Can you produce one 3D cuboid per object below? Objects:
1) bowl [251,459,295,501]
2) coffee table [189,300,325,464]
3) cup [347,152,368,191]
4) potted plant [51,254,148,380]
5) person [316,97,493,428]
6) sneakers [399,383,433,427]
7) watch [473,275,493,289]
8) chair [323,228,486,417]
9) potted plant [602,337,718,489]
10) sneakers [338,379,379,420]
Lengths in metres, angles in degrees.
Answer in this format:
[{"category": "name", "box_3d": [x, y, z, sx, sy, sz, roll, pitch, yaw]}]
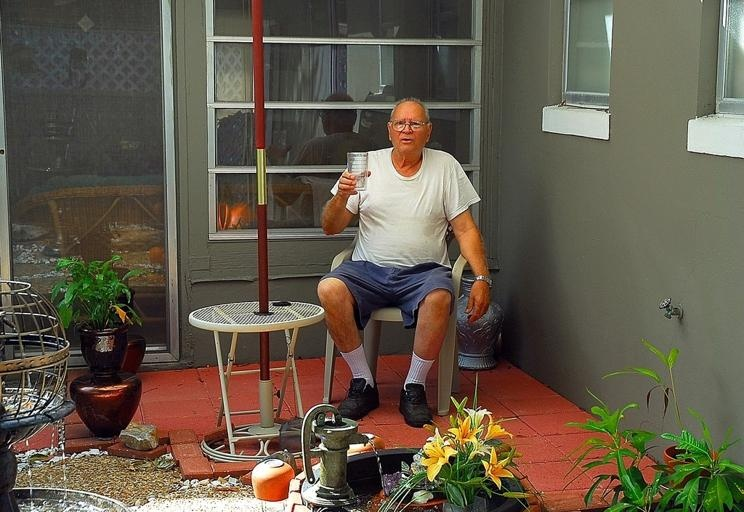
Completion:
[{"category": "bowl", "box_3d": [-0.341, 0.776, 2.048, 0.129, 0.132, 0.137, -2, 4, 0]}, {"category": "coffee table", "box_3d": [-0.564, 0.658, 3.093, 0.843, 0.719, 0.876, -1, 2, -14]}, {"category": "cup", "box_3d": [-0.071, -0.416, 2.907, 0.106, 0.183, 0.113, 0, 17, 0]}, {"category": "potted plant", "box_3d": [-1.597, 0.381, 3.388, 0.437, 0.666, 0.391, -4, -12, -41]}, {"category": "person", "box_3d": [0.154, -0.024, 3.533, 1.026, 1.906, 0.949, 2, -2, -26]}, {"category": "sneakers", "box_3d": [0.238, 0.847, 3.375, 0.124, 0.153, 0.338, -2, 4, -15]}, {"category": "watch", "box_3d": [0.648, 0.154, 3.451, 0.094, 0.105, 0.099, -1, 41, 14]}, {"category": "chair", "box_3d": [0.338, 0.374, 3.853, 0.968, 1.395, 0.965, 2, -6, 11]}, {"category": "potted plant", "box_3d": [1.257, 0.560, 2.712, 0.441, 0.592, 0.361, -34, 24, -23]}, {"category": "sneakers", "box_3d": [-0.096, 0.834, 3.440, 0.112, 0.154, 0.324, 8, 4, 22]}]
